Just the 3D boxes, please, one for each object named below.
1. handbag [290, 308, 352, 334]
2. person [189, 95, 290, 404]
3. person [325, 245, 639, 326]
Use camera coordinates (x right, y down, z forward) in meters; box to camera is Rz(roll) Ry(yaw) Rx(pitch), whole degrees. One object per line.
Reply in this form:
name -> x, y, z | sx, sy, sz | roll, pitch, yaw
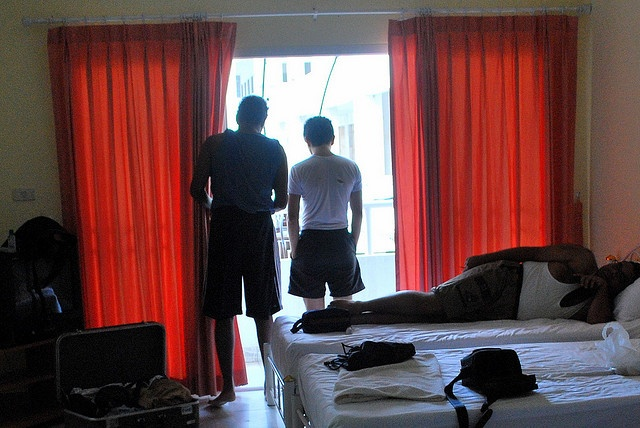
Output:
handbag -> 0.034, 0.672, 3.551 | 0.256, 0.089, 0.190 | -5, -5, -9
person -> -0.568, 0.286, 4.132 | 0.704, 2.288, 0.302 | -2, 4, -4
person -> 1.089, 0.497, 3.993 | 2.004, 0.562, 0.771 | -4, -4, -1
